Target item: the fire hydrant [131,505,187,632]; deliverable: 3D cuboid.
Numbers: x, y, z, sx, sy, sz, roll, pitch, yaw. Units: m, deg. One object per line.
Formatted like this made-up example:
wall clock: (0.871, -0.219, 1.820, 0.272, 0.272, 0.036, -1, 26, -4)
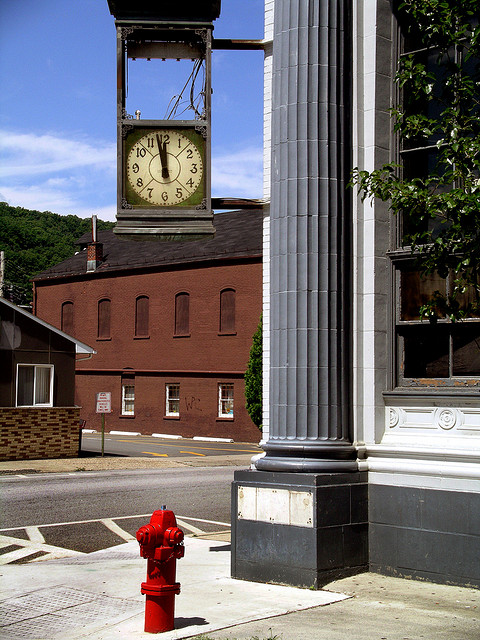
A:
fire hydrant: (-0.590, 1.825, 7.856, 0.333, 0.917, 0.365, -1, -6, -3)
